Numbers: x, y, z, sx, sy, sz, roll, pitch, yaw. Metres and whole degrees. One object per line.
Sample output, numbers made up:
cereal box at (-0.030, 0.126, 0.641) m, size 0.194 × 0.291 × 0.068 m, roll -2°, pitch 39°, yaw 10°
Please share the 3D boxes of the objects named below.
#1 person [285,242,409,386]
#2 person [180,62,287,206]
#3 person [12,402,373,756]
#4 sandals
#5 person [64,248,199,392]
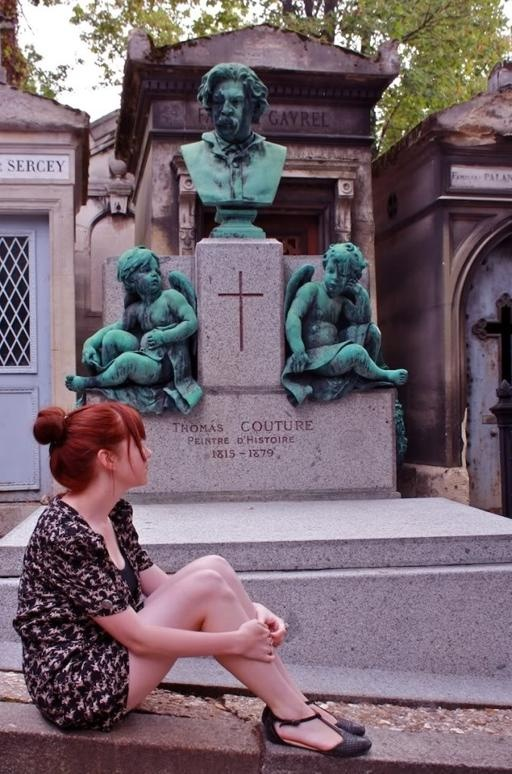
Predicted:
person at (0.448, -0.365, 6.609) m, size 0.627 × 0.755 × 0.370 m, roll -1°, pitch 0°, yaw -11°
person at (-0.095, -1.327, 6.793) m, size 0.523 × 0.733 × 0.441 m, roll -1°, pitch 0°, yaw -20°
person at (-0.199, 0.680, 4.415) m, size 1.251 × 1.207 × 0.600 m, roll 0°, pitch 8°, yaw -2°
sandals at (0.209, 1.158, 4.341) m, size 0.299 × 0.116 × 0.176 m, roll 2°, pitch 1°, yaw 2°
person at (-0.651, -0.329, 6.544) m, size 0.655 × 0.767 × 0.499 m, roll 2°, pitch 5°, yaw -13°
